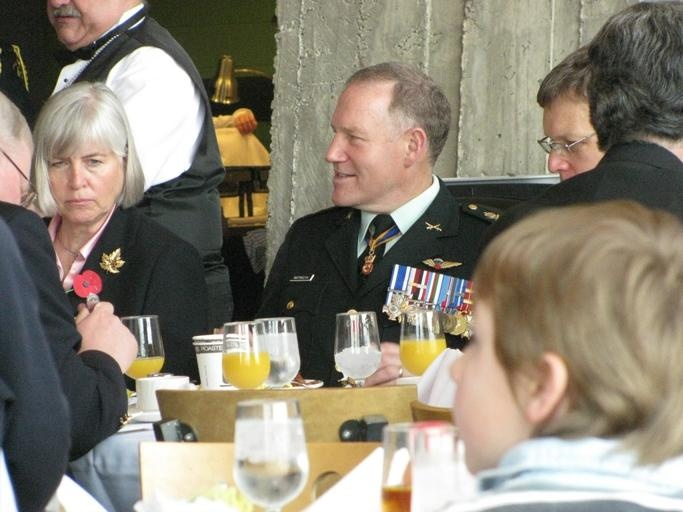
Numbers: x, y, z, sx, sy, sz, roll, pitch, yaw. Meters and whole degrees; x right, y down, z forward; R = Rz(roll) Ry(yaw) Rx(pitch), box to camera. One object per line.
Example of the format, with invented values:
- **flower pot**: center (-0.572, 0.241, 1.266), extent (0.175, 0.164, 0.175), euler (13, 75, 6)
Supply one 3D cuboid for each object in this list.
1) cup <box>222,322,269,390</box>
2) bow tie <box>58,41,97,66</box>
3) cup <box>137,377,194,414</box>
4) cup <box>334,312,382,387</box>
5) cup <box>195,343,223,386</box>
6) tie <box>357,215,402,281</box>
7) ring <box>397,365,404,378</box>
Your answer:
- **cup**: center (-0.216, 0.226, 2.388), extent (0.110, 0.153, 0.129), euler (-1, 0, -6)
- **bow tie**: center (-1.077, -0.833, 4.283), extent (0.128, 0.064, 0.097), euler (-7, 16, 0)
- **cup**: center (-0.419, 0.318, 2.503), extent (0.108, 0.070, 0.151), euler (-2, -4, 18)
- **cup**: center (0.041, 0.214, 2.497), extent (0.104, 0.175, 0.055), euler (-1, 0, 0)
- **cup**: center (-0.319, 0.265, 2.537), extent (0.097, 0.133, 0.095), euler (-1, -10, 0)
- **tie**: center (0.127, -0.045, 3.234), extent (0.080, 0.249, 0.063), euler (-2, -43, 32)
- **ring**: center (0.162, 0.312, 2.808), extent (0.023, 0.022, 0.021), euler (3, -2, 0)
